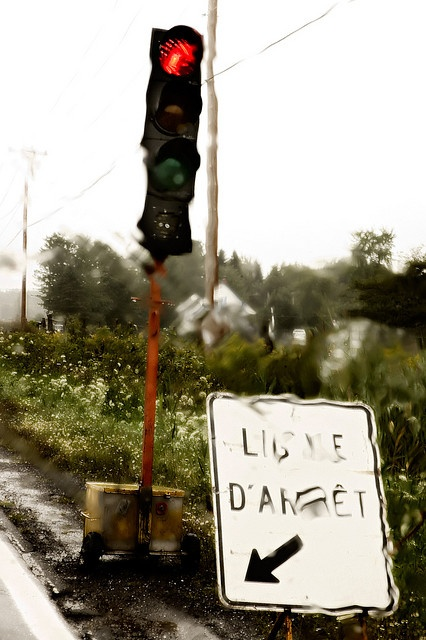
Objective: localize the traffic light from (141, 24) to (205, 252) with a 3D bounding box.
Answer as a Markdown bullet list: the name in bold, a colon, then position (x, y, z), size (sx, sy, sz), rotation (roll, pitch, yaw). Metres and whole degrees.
- **traffic light**: position (-0.246, -1.048, 3.521), size (0.351, 1.389, 0.267), rotation (4, -5, -7)

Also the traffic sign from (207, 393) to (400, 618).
- **traffic sign**: position (0.290, 0.608, 2.006), size (0.631, 0.668, 0.271), rotation (5, -5, -9)
